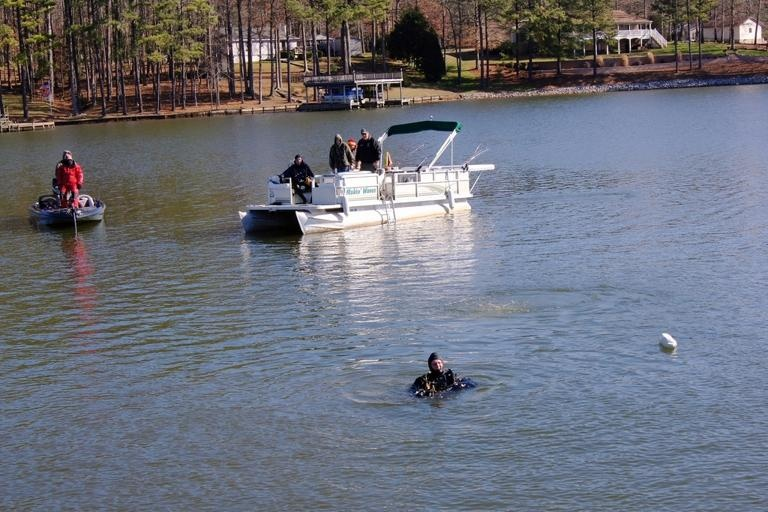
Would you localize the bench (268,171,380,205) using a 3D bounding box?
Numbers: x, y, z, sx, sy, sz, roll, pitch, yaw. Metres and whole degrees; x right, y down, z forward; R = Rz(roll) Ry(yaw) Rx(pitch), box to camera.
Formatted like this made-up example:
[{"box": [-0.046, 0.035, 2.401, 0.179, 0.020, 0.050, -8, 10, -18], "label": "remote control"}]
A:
[{"box": [-2.372, -2.815, 52.040, 4.676, 1.361, 1.616, -3, 9, 0], "label": "bench"}]

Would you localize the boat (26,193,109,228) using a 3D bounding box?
[{"box": [-14.238, -1.937, 55.241, 2.661, 1.357, 4.486, 2, -15, -1], "label": "boat"}]

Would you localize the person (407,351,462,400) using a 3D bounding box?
[{"box": [1.556, 3.478, 37.076, 1.576, 1.259, 0.769, -7, 10, -20], "label": "person"}]

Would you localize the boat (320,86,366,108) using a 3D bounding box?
[{"box": [-4.093, -16.471, 129.586, 4.060, 1.518, 3.082, -13, 18, -43], "label": "boat"}]
